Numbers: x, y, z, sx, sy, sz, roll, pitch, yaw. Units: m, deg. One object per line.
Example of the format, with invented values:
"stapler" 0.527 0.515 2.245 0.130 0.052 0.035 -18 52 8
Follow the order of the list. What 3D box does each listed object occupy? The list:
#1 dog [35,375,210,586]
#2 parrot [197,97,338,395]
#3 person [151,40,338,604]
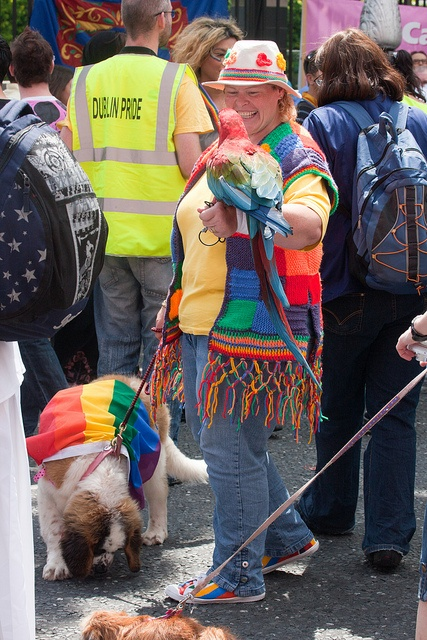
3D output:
"dog" -0.386 0.546 3.285 0.711 0.718 0.672 -2 16 -29
"parrot" 0.118 -0.207 2.217 0.252 0.713 0.310 1 8 6
"person" 0.139 0.042 2.742 0.593 1.774 0.706 3 -2 -11
